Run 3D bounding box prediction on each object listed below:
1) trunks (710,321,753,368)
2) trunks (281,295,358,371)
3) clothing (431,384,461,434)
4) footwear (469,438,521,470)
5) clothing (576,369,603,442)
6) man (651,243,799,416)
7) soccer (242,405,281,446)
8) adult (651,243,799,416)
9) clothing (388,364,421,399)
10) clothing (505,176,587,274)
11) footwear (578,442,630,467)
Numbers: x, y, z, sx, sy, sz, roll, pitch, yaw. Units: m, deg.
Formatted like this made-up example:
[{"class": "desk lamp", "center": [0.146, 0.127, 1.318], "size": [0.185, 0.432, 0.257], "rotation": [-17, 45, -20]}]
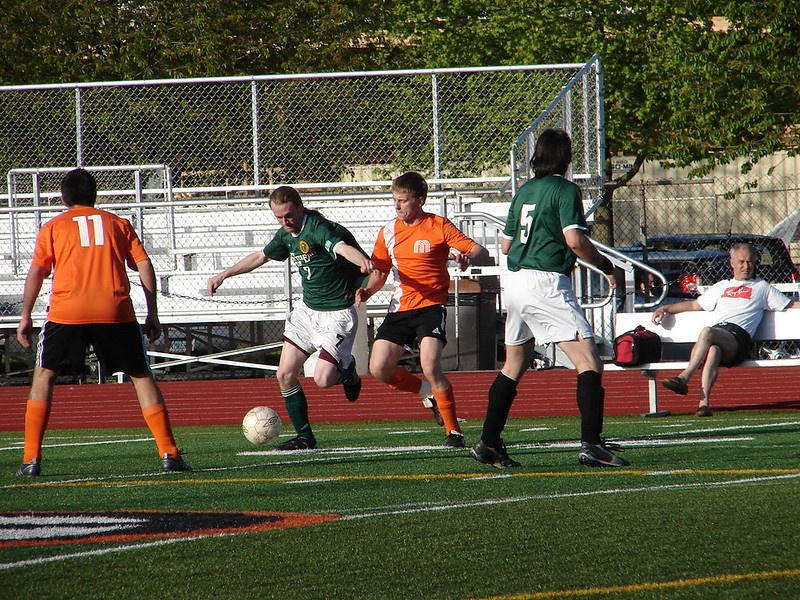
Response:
[{"class": "trunks", "center": [3.546, 0.471, 12.603], "size": [0.469, 0.372, 0.475], "rotation": [22, -13, -38]}, {"class": "trunks", "center": [-0.674, 0.267, 10.743], "size": [0.798, 0.619, 0.568], "rotation": [17, 17, 22]}, {"class": "clothing", "center": [0.447, 1.019, 10.759], "size": [0.173, 0.508, 0.235], "rotation": [-19, -28, 6]}, {"class": "footwear", "center": [0.720, 1.202, 9.169], "size": [0.451, 0.217, 0.160], "rotation": [13, -1, 0]}, {"class": "clothing", "center": [1.480, 0.824, 9.035], "size": [0.195, 0.569, 0.198], "rotation": [-1, 5, 7]}, {"class": "man", "center": [3.499, 0.327, 12.650], "size": [1.524, 1.810, 0.585], "rotation": [-4, 5, -24]}, {"class": "soccer", "center": [-1.242, 1.142, 10.425], "size": [0.306, 0.378, 0.274], "rotation": [-2, 5, -4]}, {"class": "adult", "center": [3.507, 0.326, 12.657], "size": [1.526, 1.810, 0.571], "rotation": [-4, 5, -23]}, {"class": "clothing", "center": [0.026, 0.806, 11.415], "size": [0.518, 0.150, 0.151], "rotation": [27, -49, -35]}, {"class": "clothing", "center": [1.119, -0.575, 9.066], "size": [0.669, 0.788, 0.314], "rotation": [0, 5, 20]}, {"class": "footwear", "center": [1.533, 1.206, 8.947], "size": [0.456, 0.193, 0.152], "rotation": [9, -16, -3]}]
